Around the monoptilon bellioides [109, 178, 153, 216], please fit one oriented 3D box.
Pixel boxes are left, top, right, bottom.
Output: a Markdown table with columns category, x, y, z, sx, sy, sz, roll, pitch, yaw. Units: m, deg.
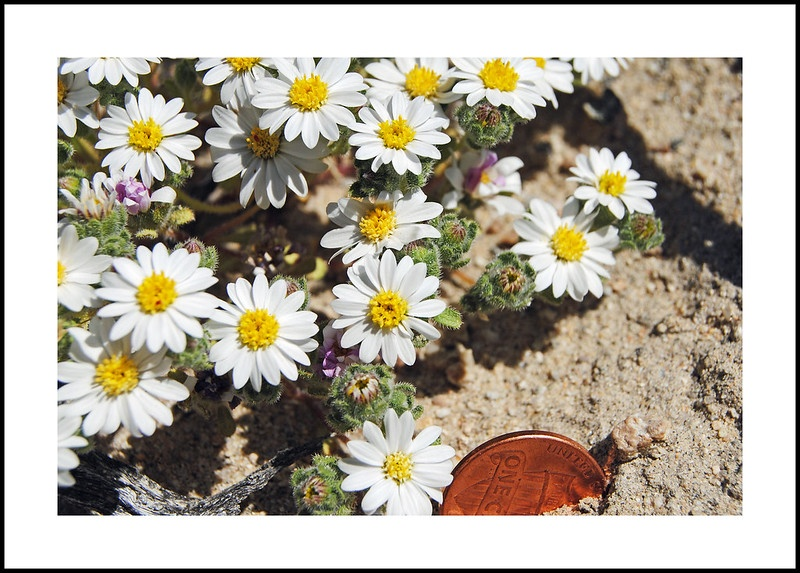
| category | x | y | z | sx | sy | sz | roll | pitch | yaw |
| --- | --- | --- | --- | --- | --- | --- | --- | --- | --- |
| monoptilon bellioides | -1.891 | -0.630 | 5.908 | 0.247 | 0.227 | 0.138 | 9 | 41 | 10 |
